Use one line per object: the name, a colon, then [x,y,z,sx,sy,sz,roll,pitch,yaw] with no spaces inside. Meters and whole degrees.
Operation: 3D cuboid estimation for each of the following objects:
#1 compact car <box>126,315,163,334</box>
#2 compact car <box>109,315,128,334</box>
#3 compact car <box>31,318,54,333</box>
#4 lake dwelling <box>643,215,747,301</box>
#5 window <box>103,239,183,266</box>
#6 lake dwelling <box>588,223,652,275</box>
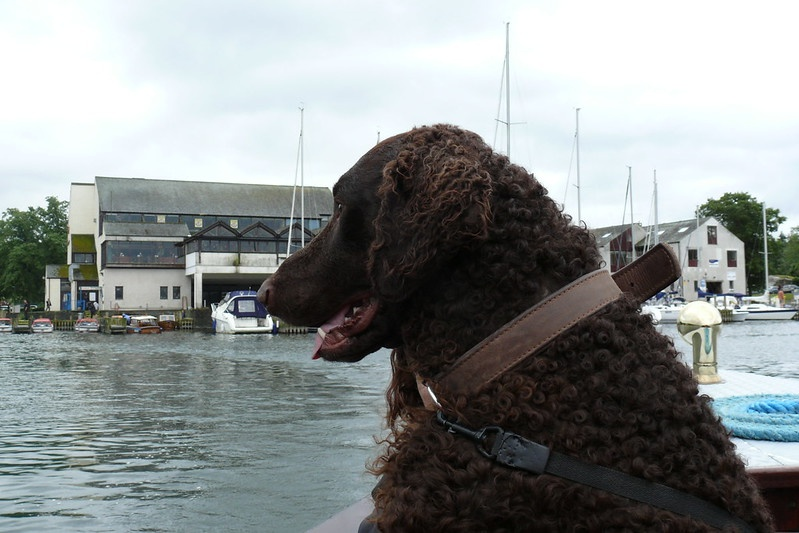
compact car: [-15.150,3.436,66.036,1.108,0.887,2.121,1,2,-24]
compact car: [-16.332,3.324,64.719,0.918,1.149,1.194,-1,0,-16]
compact car: [-22.378,3.650,69.813,0.806,0.480,1.600,-1,7,-16]
lake dwelling: [18.652,-0.415,68.502,4.827,4.797,6.324,1,-4,-10]
window: [-17.572,-1.074,76.419,4.962,1.853,3.016,-3,3,-11]
lake dwelling: [10.046,-0.906,49.615,2.915,2.049,3.803,0,-5,-18]
